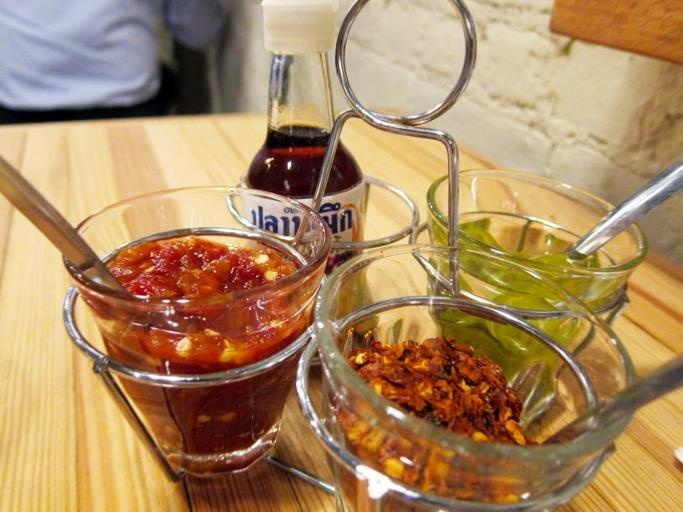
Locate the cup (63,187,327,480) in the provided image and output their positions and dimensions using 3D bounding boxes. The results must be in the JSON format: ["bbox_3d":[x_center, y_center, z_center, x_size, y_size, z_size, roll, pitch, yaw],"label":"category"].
[{"bbox_3d":[-0.137,0.080,0.744,0.307,0.278,0.302,1,36,-1],"label":"cup"}]

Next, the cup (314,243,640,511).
[{"bbox_3d":[0.108,0.099,0.539,0.244,0.111,0.251,4,44,-3],"label":"cup"}]

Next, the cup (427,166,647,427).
[{"bbox_3d":[0.219,0.038,0.725,0.204,0.172,0.216,1,38,0],"label":"cup"}]
